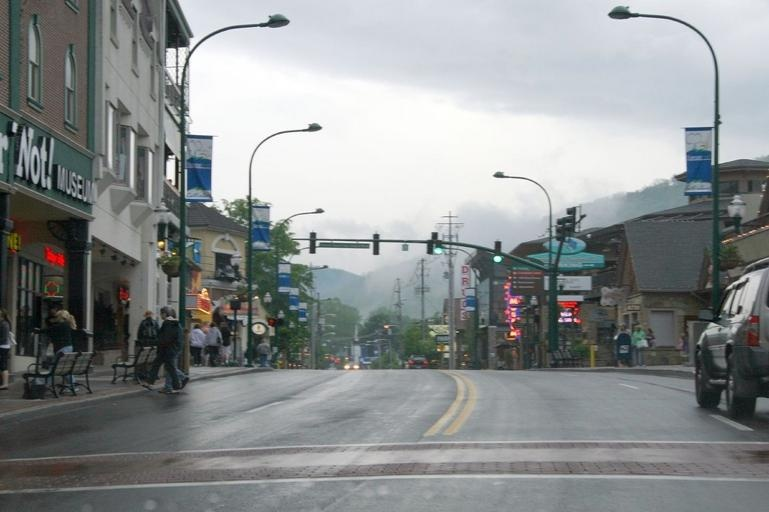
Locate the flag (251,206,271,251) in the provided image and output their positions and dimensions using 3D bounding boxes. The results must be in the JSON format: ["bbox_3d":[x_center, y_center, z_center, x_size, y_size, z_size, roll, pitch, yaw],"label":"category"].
[{"bbox_3d":[-6.214,-1.391,52.839,1.309,2.304,0.288,3,8,26],"label":"flag"}]

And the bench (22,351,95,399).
[{"bbox_3d":[-8.821,3.193,28.837,1.274,1.125,2.957,-1,-5,-1],"label":"bench"}]

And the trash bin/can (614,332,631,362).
[{"bbox_3d":[11.613,4.426,51.817,0.766,1.777,0.569,-1,-21,11],"label":"trash bin/can"}]

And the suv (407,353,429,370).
[{"bbox_3d":[3.028,9.691,97.388,1.415,1.058,3.179,0,0,-2],"label":"suv"}]

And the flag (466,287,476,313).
[{"bbox_3d":[8.991,4.430,112.416,1.045,2.353,1.687,0,-10,5],"label":"flag"}]
